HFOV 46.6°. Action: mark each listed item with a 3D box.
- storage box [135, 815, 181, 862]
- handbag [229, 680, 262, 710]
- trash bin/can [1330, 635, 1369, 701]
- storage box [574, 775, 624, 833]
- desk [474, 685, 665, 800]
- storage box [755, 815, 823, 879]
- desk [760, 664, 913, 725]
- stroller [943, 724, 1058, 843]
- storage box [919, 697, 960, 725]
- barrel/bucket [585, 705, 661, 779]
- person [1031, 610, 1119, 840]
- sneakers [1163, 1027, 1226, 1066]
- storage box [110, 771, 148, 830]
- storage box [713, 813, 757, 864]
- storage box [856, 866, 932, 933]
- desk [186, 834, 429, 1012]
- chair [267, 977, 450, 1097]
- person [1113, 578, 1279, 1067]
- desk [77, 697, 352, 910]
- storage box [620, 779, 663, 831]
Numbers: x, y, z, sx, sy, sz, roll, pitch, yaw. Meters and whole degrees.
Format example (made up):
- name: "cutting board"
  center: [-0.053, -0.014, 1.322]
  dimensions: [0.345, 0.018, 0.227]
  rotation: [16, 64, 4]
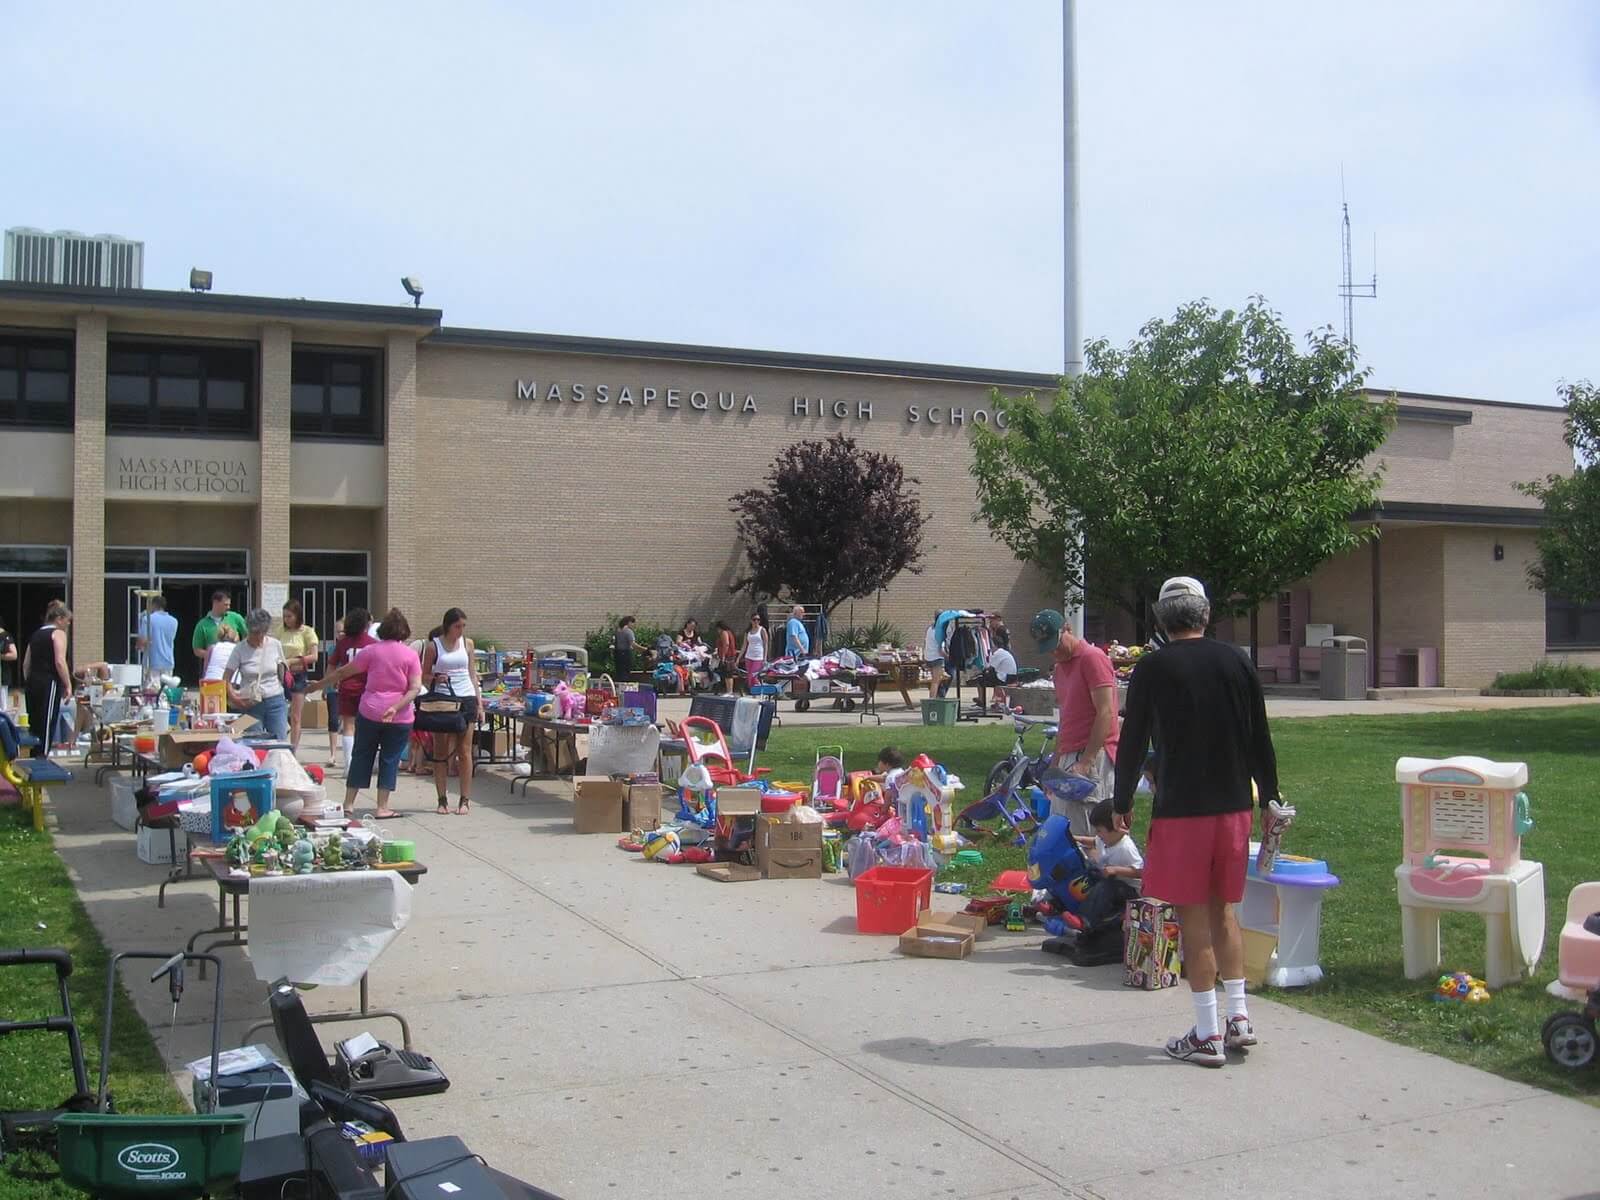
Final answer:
- name: "storage box"
  center: [-4.918, 1.849, 14.188]
  dimensions: [0.311, 0.434, 0.430]
  rotation: [2, -1, -4]
- name: "handbag"
  center: [-5.264, 0.911, 17.591]
  dimensions: [0.284, 0.298, 0.211]
  rotation: [7, -9, -38]
- name: "trash bin/can"
  center: [9.823, 1.219, 33.220]
  dimensions: [0.639, 1.091, 0.851]
  rotation: [-1, -2, 7]
- name: "storage box"
  center: [-1.771, 1.773, 16.510]
  dimensions: [0.490, 0.520, 0.419]
  rotation: [1, 6, 1]
- name: "desk"
  center: [-2.316, 1.605, 19.231]
  dimensions: [1.567, 1.452, 1.615]
  rotation: [2, 2, -29]
- name: "storage box"
  center: [-0.062, 1.933, 14.611]
  dimensions: [0.465, 0.482, 0.462]
  rotation: [6, -7, -40]
- name: "desk"
  center: [0.364, 1.414, 29.251]
  dimensions: [1.796, 0.857, 3.843]
  rotation: [0, -2, 1]
- name: "stroller"
  center: [1.733, 1.585, 15.679]
  dimensions: [0.727, 0.984, 0.813]
  rotation: [1, 3, -10]
- name: "storage box"
  center: [1.957, 1.580, 26.343]
  dimensions: [0.305, 0.292, 0.454]
  rotation: [2, 5, 1]
- name: "barrel/bucket"
  center: [-1.679, 1.353, 17.571]
  dimensions: [0.597, 0.499, 0.622]
  rotation: [1, 2, 0]
- name: "person"
  center: [1.917, 0.841, 12.914]
  dimensions: [0.544, 1.552, 0.934]
  rotation: [0, -2, 3]
- name: "sneakers"
  center: [2.225, 2.513, 10.512]
  dimensions: [0.139, 0.166, 0.360]
  rotation: [0, 3, -29]
- name: "storage box"
  center: [-5.757, 1.730, 15.887]
  dimensions: [0.318, 0.436, 0.579]
  rotation: [0, 2, -29]
- name: "storage box"
  center: [-0.549, 1.907, 14.883]
  dimensions: [0.268, 0.397, 0.392]
  rotation: [2, 3, -3]
- name: "storage box"
  center: [0.631, 2.080, 12.869]
  dimensions: [0.509, 0.450, 0.444]
  rotation: [-1, -2, 6]
- name: "desk"
  center: [-2.834, 1.715, 10.858]
  dimensions: [0.961, 0.875, 1.683]
  rotation: [3, -6, -24]
- name: "chair"
  center: [-2.390, 2.472, 9.987]
  dimensions: [1.113, 0.613, 1.229]
  rotation: [9, -3, -25]
- name: "person"
  center: [2.292, 1.248, 10.726]
  dimensions: [0.855, 2.766, 0.553]
  rotation: [0, -2, -20]
- name: "desk"
  center: [-4.734, 1.571, 14.142]
  dimensions: [1.483, 1.484, 2.724]
  rotation: [2, 2, -24]
- name: "storage box"
  center: [-1.400, 1.834, 16.432]
  dimensions: [0.313, 0.457, 0.604]
  rotation: [0, -2, -8]
